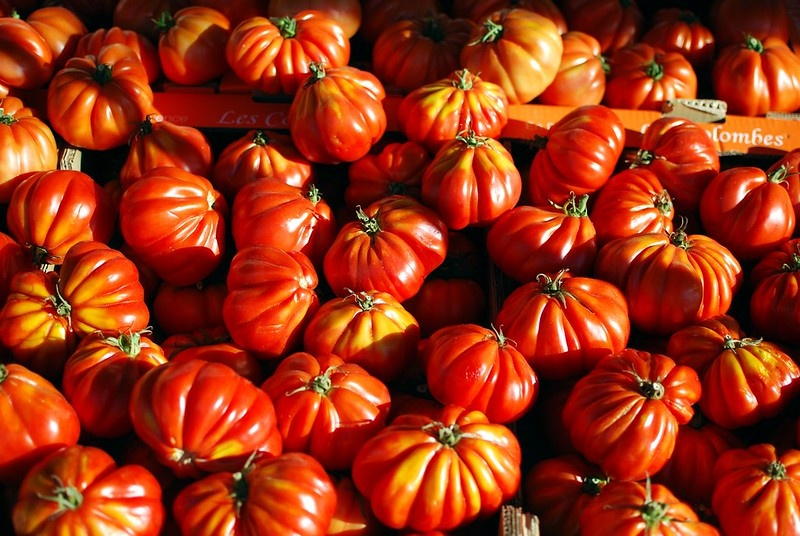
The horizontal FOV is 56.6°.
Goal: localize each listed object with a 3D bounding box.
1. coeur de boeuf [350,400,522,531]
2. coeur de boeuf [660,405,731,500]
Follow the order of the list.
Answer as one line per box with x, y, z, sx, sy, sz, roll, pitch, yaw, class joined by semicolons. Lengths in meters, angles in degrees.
0.178;0.880;3.227;0.578;0.427;0.552;8;37;20;coeur de boeuf
1.386;0.865;3.599;0.318;0.374;0.360;0;13;11;coeur de boeuf
